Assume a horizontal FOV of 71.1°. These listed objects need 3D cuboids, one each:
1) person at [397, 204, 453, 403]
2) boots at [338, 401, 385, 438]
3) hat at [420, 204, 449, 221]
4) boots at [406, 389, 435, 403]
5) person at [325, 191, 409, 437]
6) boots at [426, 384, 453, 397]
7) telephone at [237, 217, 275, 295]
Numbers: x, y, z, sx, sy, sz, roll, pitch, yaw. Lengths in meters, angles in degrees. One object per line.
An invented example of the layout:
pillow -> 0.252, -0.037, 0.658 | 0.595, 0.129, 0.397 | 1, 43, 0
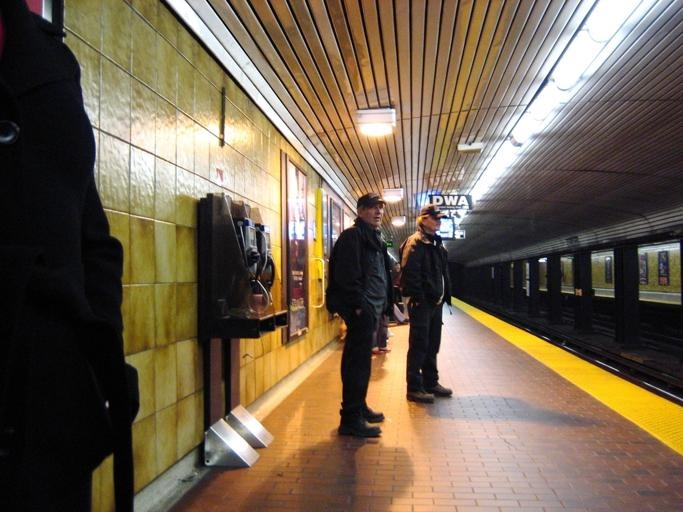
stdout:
person -> 0.958, 0.506, 5.264 | 0.745, 2.106, 0.498 | 4, -4, -38
boots -> 0.177, 1.446, 4.222 | 0.361, 0.173, 0.453 | -2, -1, 8
hat -> 1.014, -0.458, 5.272 | 0.216, 0.126, 0.163 | -6, -2, 12
boots -> 0.836, 1.502, 5.149 | 0.304, 0.241, 0.109 | -5, -6, 23
person -> 0.192, 0.483, 4.214 | 0.396, 2.094, 0.647 | -2, -2, 44
boots -> 1.081, 1.480, 5.279 | 0.296, 0.159, 0.114 | -3, -1, 14
telephone -> -0.720, 0.012, 3.976 | 0.181, 0.673, 0.623 | -9, -10, 2
